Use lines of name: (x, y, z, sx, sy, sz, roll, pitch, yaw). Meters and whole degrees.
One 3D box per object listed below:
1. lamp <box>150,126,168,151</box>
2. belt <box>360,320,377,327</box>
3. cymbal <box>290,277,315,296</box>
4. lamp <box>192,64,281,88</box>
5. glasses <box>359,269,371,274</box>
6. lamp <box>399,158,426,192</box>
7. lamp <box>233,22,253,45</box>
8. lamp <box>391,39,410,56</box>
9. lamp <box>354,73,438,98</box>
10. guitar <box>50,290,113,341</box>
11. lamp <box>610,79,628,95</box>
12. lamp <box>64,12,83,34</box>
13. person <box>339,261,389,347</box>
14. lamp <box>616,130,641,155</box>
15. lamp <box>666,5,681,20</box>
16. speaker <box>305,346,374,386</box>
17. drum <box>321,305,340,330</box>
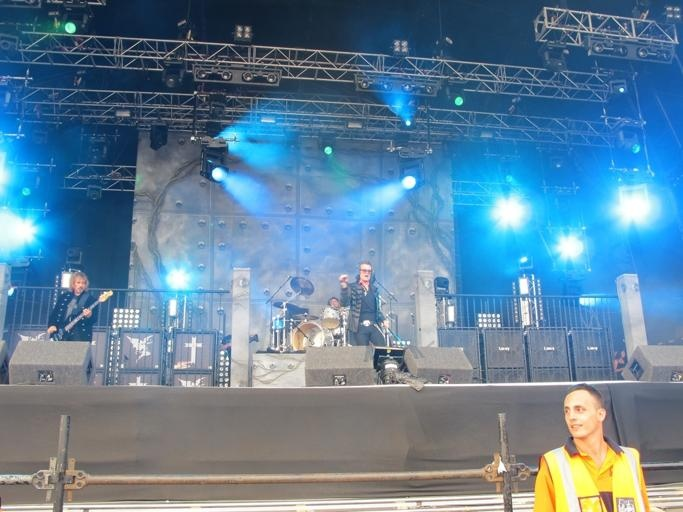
lamp: (-5.166, -3.363, 18.085, 0.429, 0.579, 0.501, 5, -14, -21)
belt: (0.498, 1.243, 11.683, 0.265, 0.110, 0.083, 1, -13, -6)
cymbal: (-1.054, 0.789, 16.545, 0.557, 0.479, 1.016, 2, -13, -6)
lamp: (-2.571, -4.454, 15.673, 2.092, 0.425, 0.354, 1, -13, -4)
glasses: (0.447, 0.289, 11.751, 0.176, 0.099, 0.104, 1, -13, -5)
lamp: (2.094, -2.455, 18.993, 0.750, 1.122, 0.788, 0, -2, -8)
lamp: (-2.287, -5.263, 15.113, 0.431, 0.469, 0.442, 2, 7, 14)
lamp: (1.419, -5.073, 15.482, 0.387, 0.384, 0.212, 2, -13, -9)
lamp: (1.402, -4.325, 16.194, 2.174, 0.357, 0.413, 2, -13, -9)
guitar: (-4.626, 1.037, 11.311, 0.920, 0.911, 0.601, 7, -14, -26)
lamp: (7.222, -4.429, 16.673, 0.346, 0.386, 0.377, -1, 9, 17)
lamp: (-5.980, -5.265, 14.486, 0.432, 0.489, 0.363, 15, 14, 43)
person: (0.430, 0.888, 11.846, 0.900, 1.608, 0.858, 5, -14, -20)
lamp: (8.109, -3.226, 18.125, 0.587, 0.625, 0.369, 0, -10, 4)
lamp: (7.546, -5.546, 14.557, 0.319, 0.318, 0.166, 0, 4, -4)
speaker: (-0.011, 1.467, 8.487, 0.926, 0.511, 0.191, 2, -13, -8)
drum: (-0.256, 1.330, 14.300, 0.447, 0.468, 0.461, -5, -35, 1)
